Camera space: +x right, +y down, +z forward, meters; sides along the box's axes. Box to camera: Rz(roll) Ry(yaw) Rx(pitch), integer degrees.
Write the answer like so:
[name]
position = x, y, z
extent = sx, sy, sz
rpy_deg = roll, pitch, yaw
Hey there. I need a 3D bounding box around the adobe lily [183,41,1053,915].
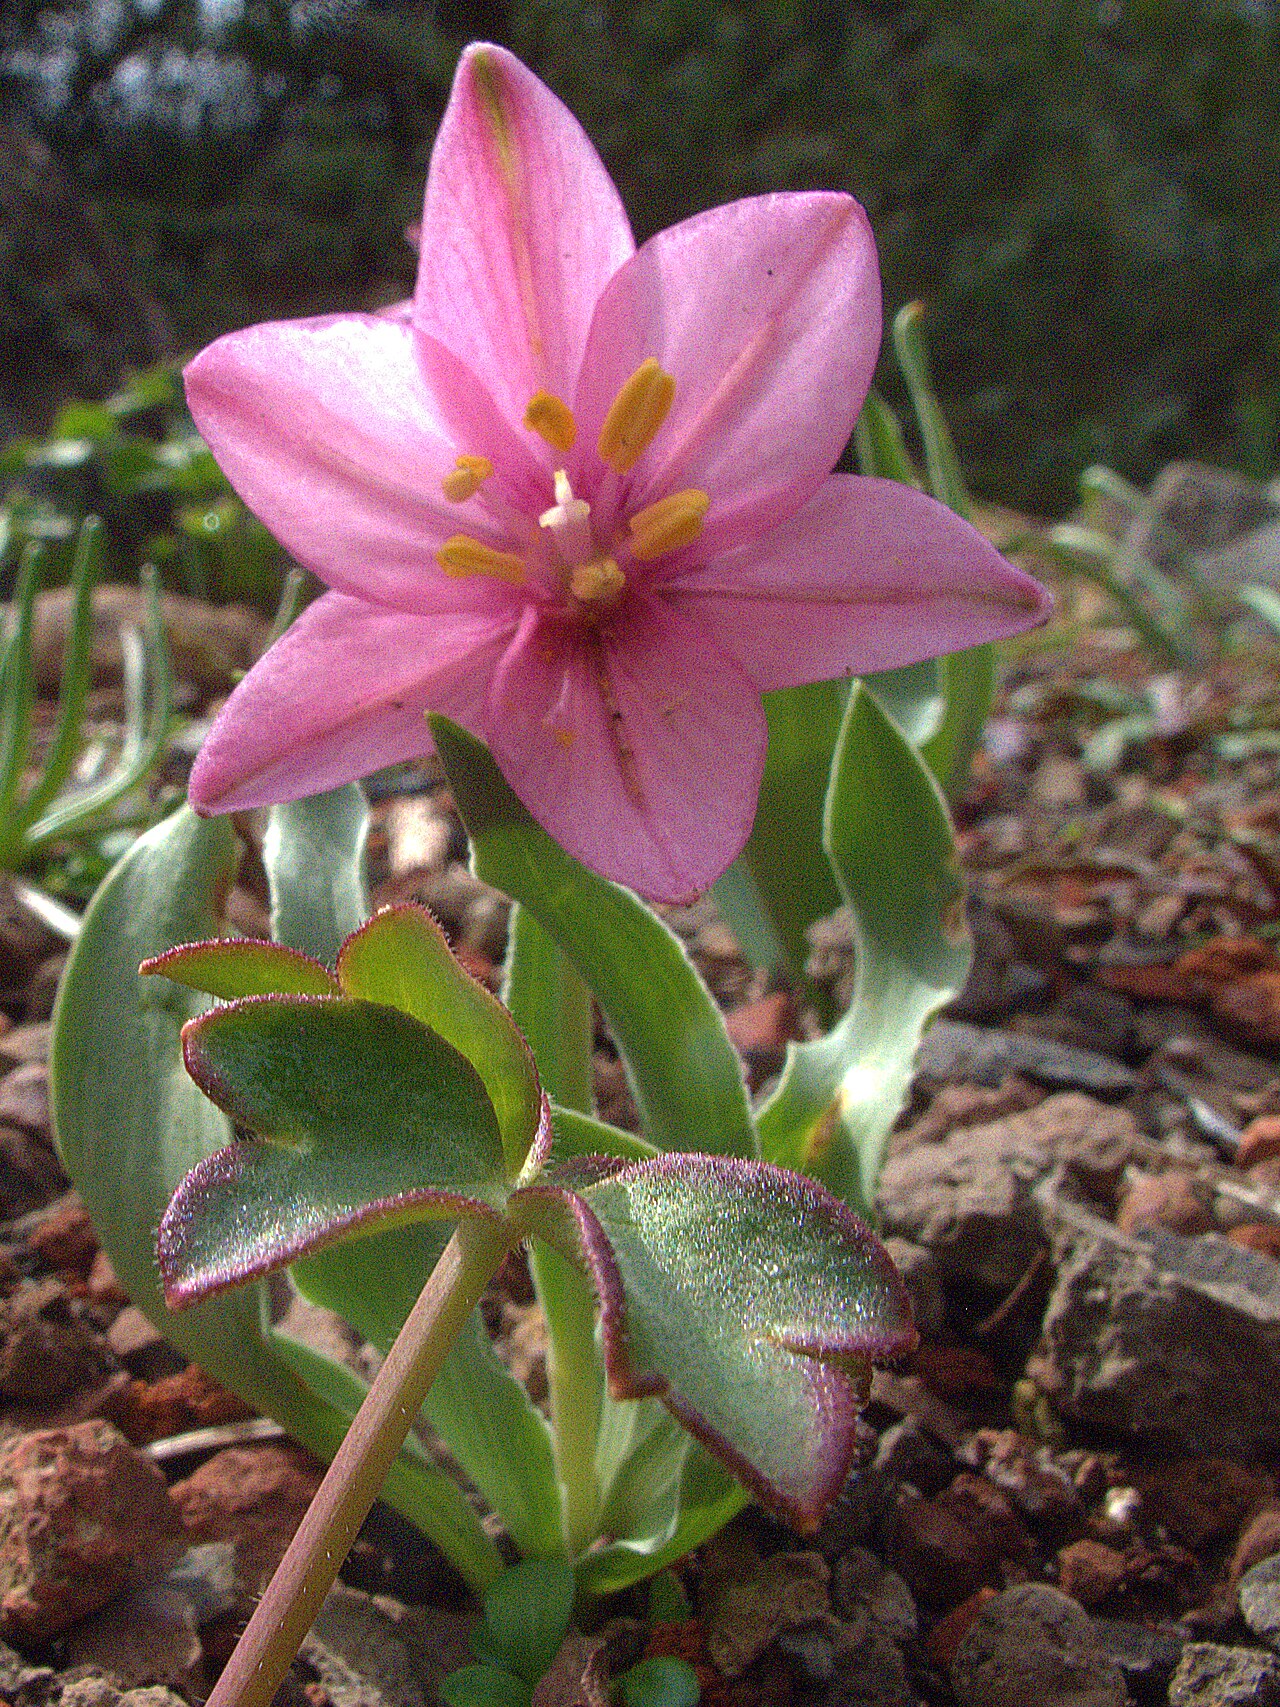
[adobe lily]
position = -0.010, -0.184, 0.805
extent = 0.411, 0.376, 0.205
rpy_deg = 4, 26, 9
